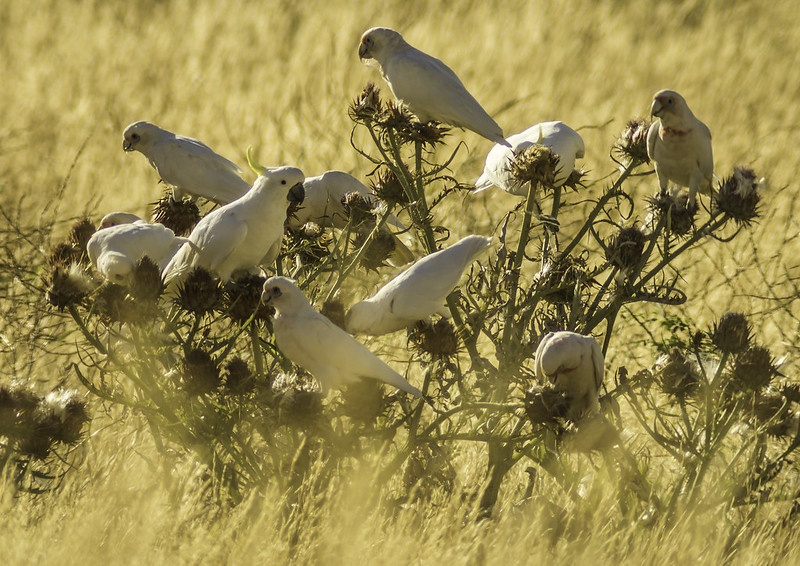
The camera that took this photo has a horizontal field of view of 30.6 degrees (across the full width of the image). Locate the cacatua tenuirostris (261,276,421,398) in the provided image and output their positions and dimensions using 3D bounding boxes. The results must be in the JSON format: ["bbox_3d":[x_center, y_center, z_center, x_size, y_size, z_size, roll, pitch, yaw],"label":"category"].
[{"bbox_3d":[-0.589,0.515,13.831,1.432,1.032,0.447,18,-22,-8],"label":"cacatua tenuirostris"}]

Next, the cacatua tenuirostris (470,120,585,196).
[{"bbox_3d":[1.308,-1.256,14.505,1.114,0.643,0.818,-7,-69,3],"label":"cacatua tenuirostris"}]

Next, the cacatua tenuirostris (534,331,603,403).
[{"bbox_3d":[1.623,0.748,13.813,0.509,0.711,0.660,-7,6,2],"label":"cacatua tenuirostris"}]
